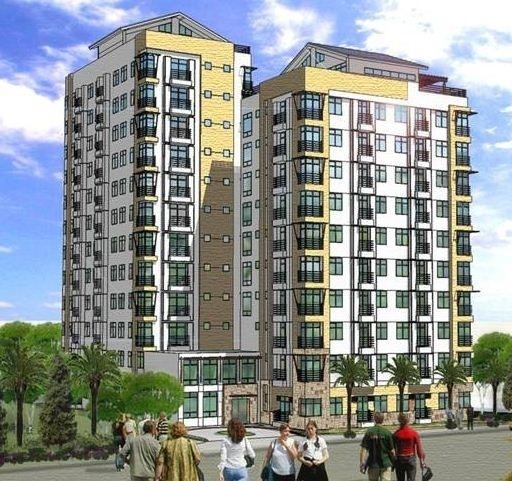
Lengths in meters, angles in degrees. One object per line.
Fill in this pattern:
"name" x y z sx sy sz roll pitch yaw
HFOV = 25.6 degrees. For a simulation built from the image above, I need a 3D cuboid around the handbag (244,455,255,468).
"handbag" -0.297 9.388 48.234 0.390 0.514 0.674 -3 -13 1
